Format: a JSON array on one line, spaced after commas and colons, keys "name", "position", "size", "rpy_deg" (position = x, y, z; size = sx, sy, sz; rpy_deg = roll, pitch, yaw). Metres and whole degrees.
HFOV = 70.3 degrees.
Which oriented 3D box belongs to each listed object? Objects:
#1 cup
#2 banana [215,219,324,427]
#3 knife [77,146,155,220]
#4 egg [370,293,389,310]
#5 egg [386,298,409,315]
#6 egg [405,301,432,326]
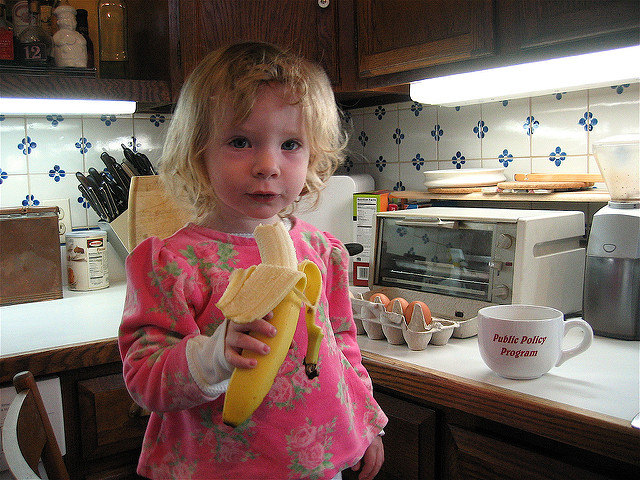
[{"name": "cup", "position": [0.430, 0.159, 0.949], "size": [0.204, 0.127, 0.154], "rpy_deg": [-2, -1, 19]}, {"name": "banana", "position": [-0.061, 0.101, 0.605], "size": [0.139, 0.084, 0.285], "rpy_deg": [2, 52, 8]}, {"name": "knife", "position": [-0.751, -0.200, 1.657], "size": [0.227, 0.331, 0.105], "rpy_deg": [-21, 20, -23]}, {"name": "egg", "position": [0.161, 0.164, 1.184], "size": [0.036, 0.045, 0.036], "rpy_deg": [-13, -7, -23]}, {"name": "egg", "position": [0.194, 0.160, 1.129], "size": [0.040, 0.052, 0.041], "rpy_deg": [6, 0, 1]}, {"name": "egg", "position": [0.236, 0.173, 1.099], "size": [0.054, 0.071, 0.056], "rpy_deg": [2, 0, -7]}]
